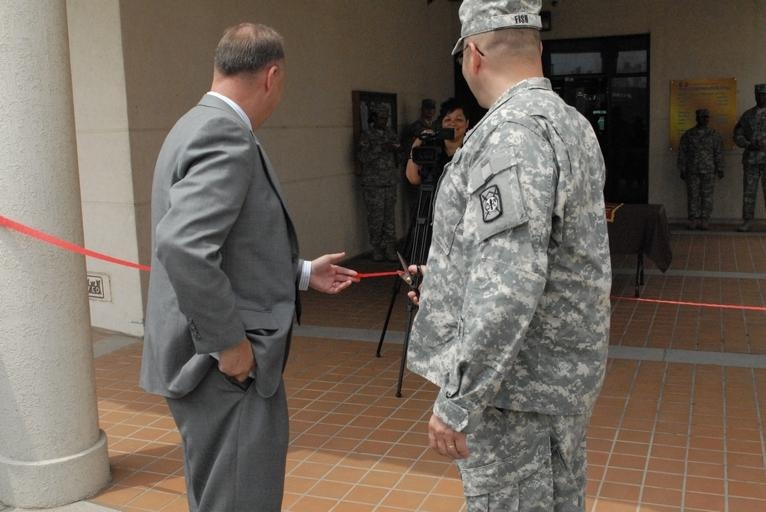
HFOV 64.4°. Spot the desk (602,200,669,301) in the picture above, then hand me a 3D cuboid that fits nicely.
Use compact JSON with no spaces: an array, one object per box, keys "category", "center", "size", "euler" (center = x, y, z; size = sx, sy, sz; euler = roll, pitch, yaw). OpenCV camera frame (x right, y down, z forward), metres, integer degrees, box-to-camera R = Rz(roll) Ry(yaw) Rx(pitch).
[{"category":"desk","center":[2.837,-0.077,7.258],"size":[1.107,1.013,1.068],"euler":[2,15,22]}]

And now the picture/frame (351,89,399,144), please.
[{"category":"picture/frame","center":[-0.168,-2.123,9.290],"size":[0.102,0.712,0.996],"euler":[-3,8,35]}]

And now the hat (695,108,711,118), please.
[{"category":"hat","center":[5.767,-2.565,10.990],"size":[0.188,0.161,0.276],"euler":[4,13,26]}]

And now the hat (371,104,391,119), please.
[{"category":"hat","center":[-0.058,-2.185,9.189],"size":[0.312,0.116,0.434],"euler":[-1,12,-5]}]

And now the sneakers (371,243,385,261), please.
[{"category":"sneakers","center":[-0.085,-0.054,9.239],"size":[0.263,0.280,0.663],"euler":[0,2,-2]}]
